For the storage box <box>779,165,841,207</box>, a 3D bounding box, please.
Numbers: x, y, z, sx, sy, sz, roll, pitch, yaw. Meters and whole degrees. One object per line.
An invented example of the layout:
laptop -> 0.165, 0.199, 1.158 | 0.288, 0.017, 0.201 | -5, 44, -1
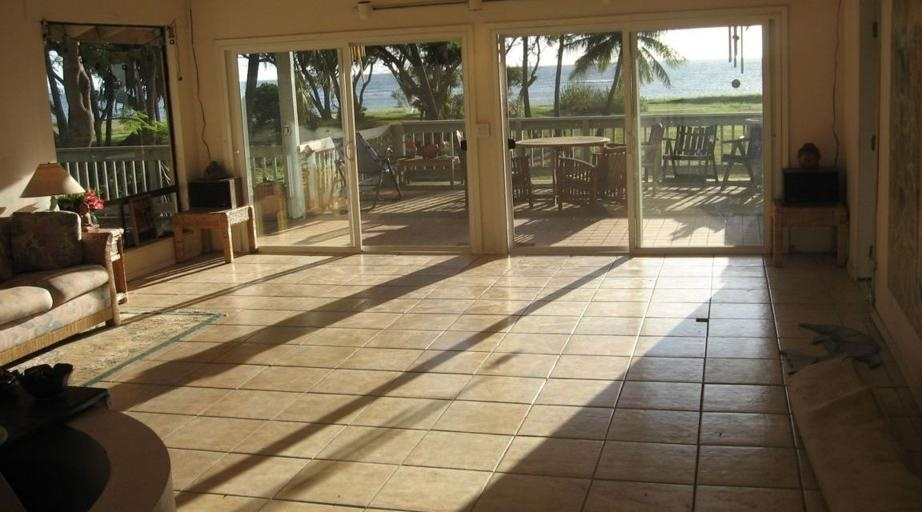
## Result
storage box -> 4.147, -0.812, 7.585 | 0.784, 0.446, 0.406 | -2, 0, -5

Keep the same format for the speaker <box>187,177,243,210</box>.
speaker -> -3.487, -0.890, 9.126 | 0.956, 0.529, 0.536 | -1, 2, 27

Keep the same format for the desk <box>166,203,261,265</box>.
desk -> -3.555, -0.360, 9.170 | 1.185, 0.599, 1.158 | -12, 15, -37

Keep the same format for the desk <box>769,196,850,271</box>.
desk -> 4.135, -0.272, 7.418 | 0.911, 0.663, 0.830 | 2, 8, 19

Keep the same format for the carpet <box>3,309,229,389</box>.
carpet -> -3.389, 0.872, 6.390 | 1.103, 0.132, 1.577 | 5, 16, 27

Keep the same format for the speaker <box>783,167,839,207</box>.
speaker -> 4.140, -0.805, 7.602 | 0.817, 0.487, 0.429 | -1, -2, -6

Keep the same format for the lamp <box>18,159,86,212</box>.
lamp -> -4.546, -0.742, 7.042 | 0.620, 0.540, 0.624 | 7, 14, 35

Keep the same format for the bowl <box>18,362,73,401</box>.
bowl -> -2.600, 0.785, 3.937 | 0.370, 0.198, 0.141 | -4, 16, -1

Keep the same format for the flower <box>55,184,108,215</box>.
flower -> -4.472, -0.651, 7.432 | 0.487, 0.351, 0.372 | -2, 15, 3
